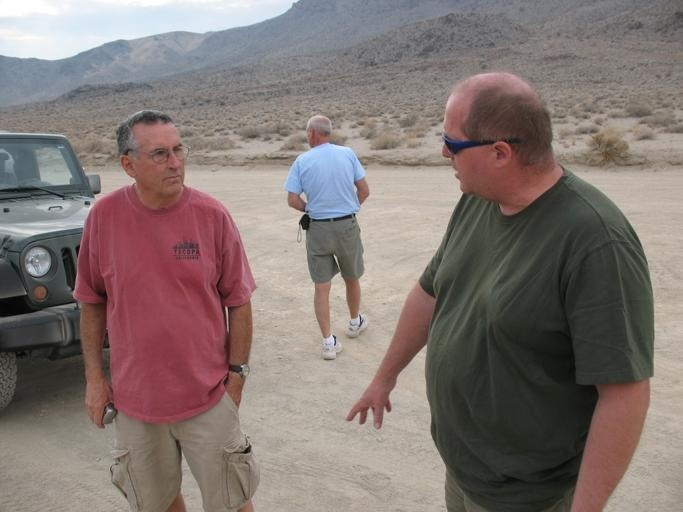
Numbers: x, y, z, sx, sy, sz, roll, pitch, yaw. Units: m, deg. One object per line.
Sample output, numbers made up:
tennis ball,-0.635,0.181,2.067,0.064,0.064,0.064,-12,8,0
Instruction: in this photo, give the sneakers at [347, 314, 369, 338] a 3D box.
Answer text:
sneakers,0.176,0.752,6.096,0.132,0.129,0.323,3,14,19

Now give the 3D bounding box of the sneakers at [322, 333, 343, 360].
sneakers,-0.098,0.896,5.560,0.126,0.124,0.310,-1,10,6

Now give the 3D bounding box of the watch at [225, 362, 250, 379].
watch,-0.528,0.582,2.952,0.101,0.055,0.099,0,-11,21
